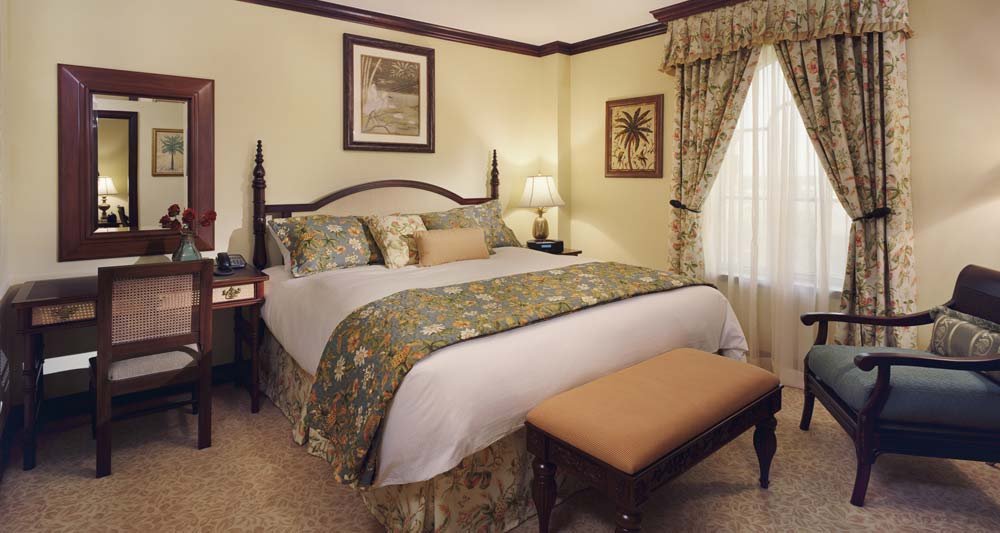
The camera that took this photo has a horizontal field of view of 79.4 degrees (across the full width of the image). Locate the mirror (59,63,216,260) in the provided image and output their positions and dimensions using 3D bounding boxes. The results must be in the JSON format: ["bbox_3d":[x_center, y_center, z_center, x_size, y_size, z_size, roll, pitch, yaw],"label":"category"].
[{"bbox_3d":[-3.542,-1.006,5.772,1.417,1.801,0.245,-6,13,-21],"label":"mirror"}]

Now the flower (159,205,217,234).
[{"bbox_3d":[-2.999,-0.457,5.804,0.371,0.176,0.376,1,-4,39],"label":"flower"}]

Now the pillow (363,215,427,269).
[{"bbox_3d":[-1.068,-0.293,6.139,0.583,0.546,0.171,-9,-20,-43],"label":"pillow"}]
